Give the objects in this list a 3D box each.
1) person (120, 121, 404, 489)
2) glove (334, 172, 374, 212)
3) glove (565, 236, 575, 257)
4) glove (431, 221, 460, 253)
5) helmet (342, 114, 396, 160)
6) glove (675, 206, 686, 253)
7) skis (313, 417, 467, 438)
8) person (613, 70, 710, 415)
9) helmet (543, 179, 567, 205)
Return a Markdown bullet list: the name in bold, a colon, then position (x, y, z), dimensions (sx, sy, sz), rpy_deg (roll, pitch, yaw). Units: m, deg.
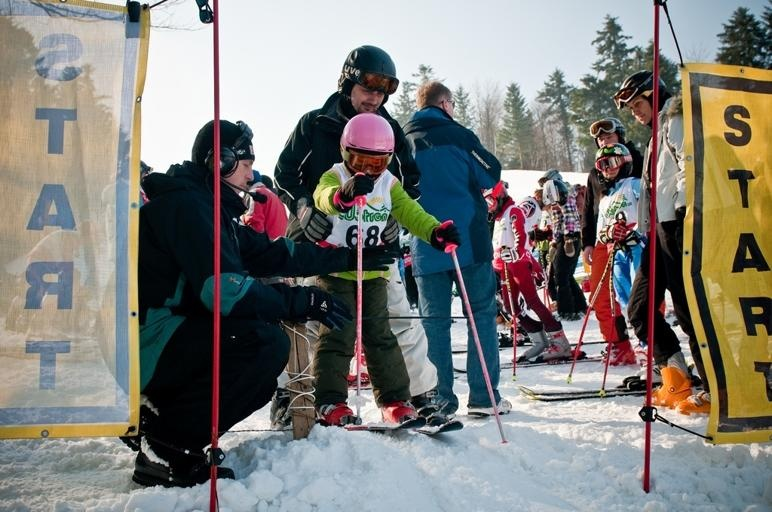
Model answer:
- **person**: position (-1.025, 0.247, 5.272), dimensions (1.317, 2.401, 0.684), rpy_deg (0, -6, -28)
- **glove**: position (-0.227, -0.428, 5.496), dimensions (0.304, 0.180, 0.122), rpy_deg (-38, -45, 21)
- **glove**: position (2.373, -0.120, 10.229), dimensions (0.074, 0.235, 0.164), rpy_deg (3, 0, -3)
- **glove**: position (0.427, -0.138, 5.713), dimensions (0.127, 0.240, 0.167), rpy_deg (-25, 46, -32)
- **helmet**: position (-0.111, -0.836, 5.530), dimensions (0.243, 0.291, 0.328), rpy_deg (2, 22, -12)
- **glove**: position (2.176, -0.196, 5.864), dimensions (0.066, 0.337, 0.317), rpy_deg (-4, -6, 19)
- **skis**: position (0.050, 1.202, 5.553), dimensions (0.906, 0.182, 0.293), rpy_deg (-2, -10, 7)
- **person**: position (2.111, -0.221, 6.167), dimensions (0.532, 2.859, 1.462), rpy_deg (-4, -6, 17)
- **helmet**: position (2.425, -0.893, 11.421), dimensions (0.354, 0.410, 0.293), rpy_deg (0, 0, -2)
